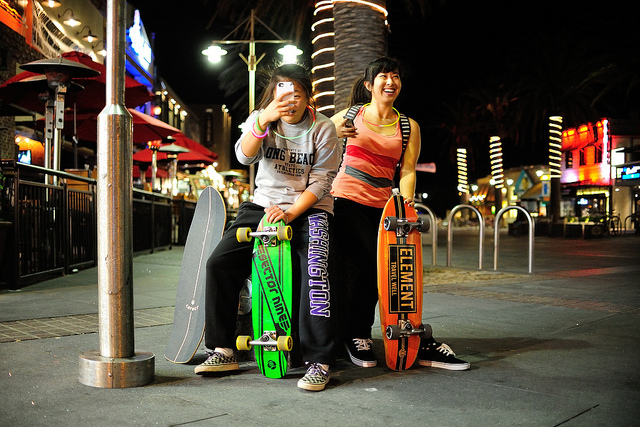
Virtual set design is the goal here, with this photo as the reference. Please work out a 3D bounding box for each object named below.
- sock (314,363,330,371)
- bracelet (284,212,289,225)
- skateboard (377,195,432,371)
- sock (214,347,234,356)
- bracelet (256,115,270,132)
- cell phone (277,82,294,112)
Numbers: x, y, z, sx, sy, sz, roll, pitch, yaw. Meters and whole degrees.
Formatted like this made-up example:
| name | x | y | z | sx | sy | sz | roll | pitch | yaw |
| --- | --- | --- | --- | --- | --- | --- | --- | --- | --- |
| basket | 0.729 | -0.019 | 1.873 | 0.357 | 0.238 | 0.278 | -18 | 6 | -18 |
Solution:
| name | x | y | z | sx | sy | sz | roll | pitch | yaw |
| --- | --- | --- | --- | --- | --- | --- | --- | --- | --- |
| sock | 0.036 | 1.471 | 5.977 | 0.112 | 0.060 | 0.038 | -1 | 7 | -19 |
| bracelet | -0.319 | 0.038 | 6.110 | 0.024 | 0.090 | 0.092 | -3 | 7 | -44 |
| skateboard | 0.834 | 0.682 | 6.407 | 0.498 | 1.850 | 0.268 | 4 | -6 | -19 |
| sock | -0.943 | 1.364 | 6.230 | 0.196 | 0.080 | 0.065 | 12 | -2 | -14 |
| bracelet | -0.547 | -0.901 | 6.206 | 0.085 | 0.165 | 0.203 | 4 | 8 | 27 |
| cell phone | -0.332 | -1.176 | 6.099 | 0.157 | 0.230 | 0.131 | 0 | 7 | -5 |
